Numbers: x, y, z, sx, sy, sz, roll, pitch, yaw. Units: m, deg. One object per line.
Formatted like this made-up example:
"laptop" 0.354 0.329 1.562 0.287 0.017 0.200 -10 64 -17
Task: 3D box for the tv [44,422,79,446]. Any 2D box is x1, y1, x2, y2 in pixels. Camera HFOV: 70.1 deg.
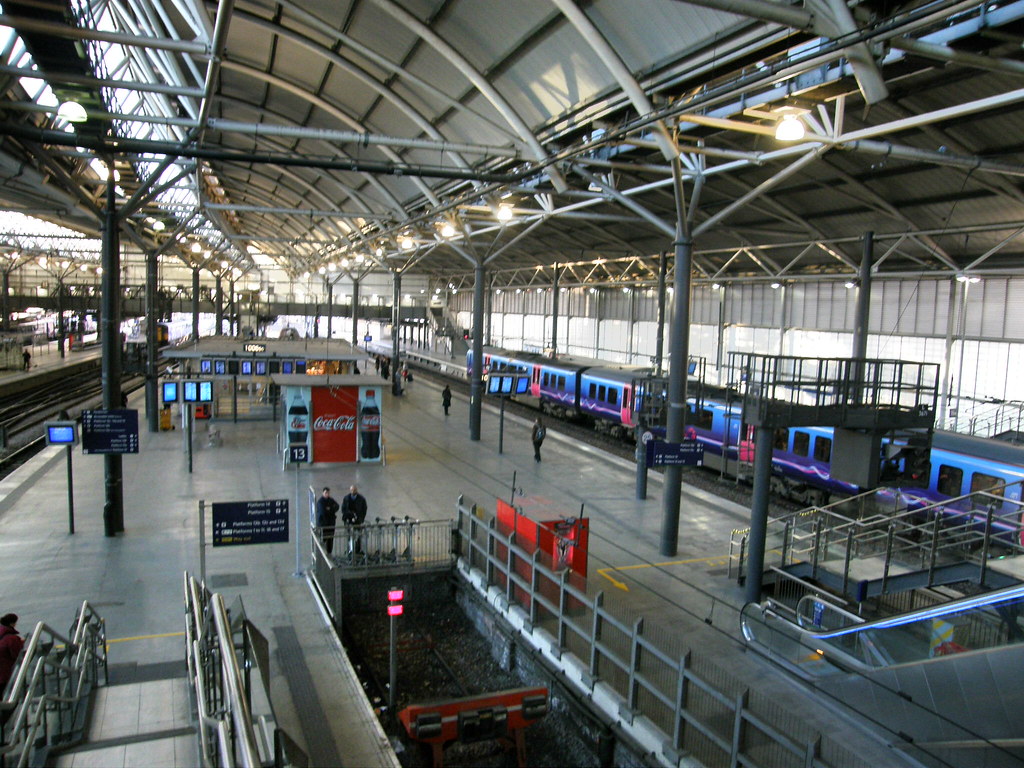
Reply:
"tv" -11.804 1.321 19.098 0.637 0.697 0.753 -3 4 -29

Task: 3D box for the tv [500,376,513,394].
"tv" -0.282 0.062 30.169 0.688 0.940 0.098 1 2 -37

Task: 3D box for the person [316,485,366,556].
"person" -4.435 3.565 18.815 1.507 2.335 0.670 1 -8 -21

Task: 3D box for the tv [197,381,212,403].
"tv" -11.051 0.284 26.216 0.380 0.704 0.612 -2 3 -15

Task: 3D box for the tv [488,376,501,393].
"tv" -0.753 0.056 29.848 0.582 0.568 0.154 3 1 -41

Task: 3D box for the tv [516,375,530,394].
"tv" 0.399 0.044 31.121 0.077 0.555 0.792 6 6 33
